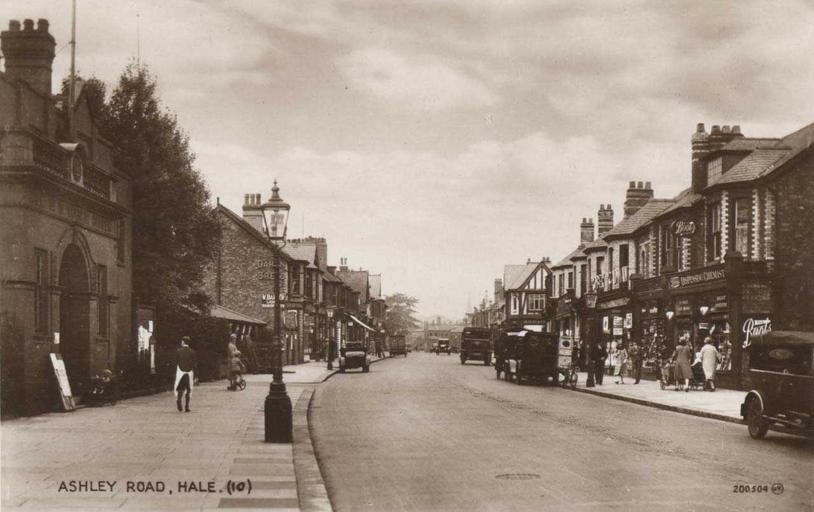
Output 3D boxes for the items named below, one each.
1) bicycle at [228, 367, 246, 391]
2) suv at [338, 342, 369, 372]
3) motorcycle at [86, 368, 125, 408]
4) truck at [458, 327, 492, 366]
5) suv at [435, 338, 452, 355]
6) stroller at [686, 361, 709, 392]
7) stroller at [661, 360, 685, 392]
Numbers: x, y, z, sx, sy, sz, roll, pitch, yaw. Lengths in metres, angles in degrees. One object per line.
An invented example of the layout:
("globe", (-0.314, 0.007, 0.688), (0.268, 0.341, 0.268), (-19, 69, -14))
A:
("bicycle", (-7.353, 5.393, 48.268), (0.608, 0.585, 1.027), (-4, -13, 11))
("suv", (-3.177, 5.973, 66.124), (1.281, 0.947, 2.148), (-1, -13, -3))
("motorcycle", (-11.267, 4.982, 42.027), (1.181, 1.307, 2.397), (4, -11, -14))
("truck", (5.287, 7.133, 87.931), (2.035, 1.844, 3.296), (0, -13, -1))
("suv", (4.436, 11.327, 141.895), (1.705, 1.479, 2.699), (0, -11, -3))
("stroller", (12.725, 5.275, 49.632), (0.966, 1.075, 1.159), (1, -12, -4))
("stroller", (12.095, 5.471, 50.923), (0.963, 1.195, 1.231), (-2, 5, 11))
